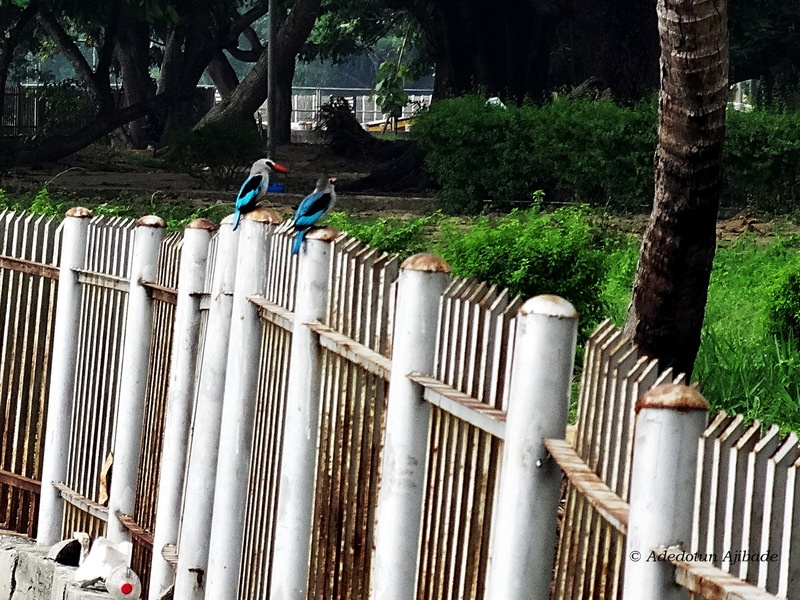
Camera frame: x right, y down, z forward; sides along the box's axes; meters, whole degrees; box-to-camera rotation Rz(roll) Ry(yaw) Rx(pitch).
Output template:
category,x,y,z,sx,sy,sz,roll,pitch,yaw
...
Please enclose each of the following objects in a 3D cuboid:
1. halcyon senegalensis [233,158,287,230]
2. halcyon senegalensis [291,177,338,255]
category,x,y,z,sx,sy,sz,roll,pitch,yaw
halcyon senegalensis,-1.003,-0.759,11.658,0.387,0.436,0.149,-10,-17,-1
halcyon senegalensis,-0.576,-0.546,10.979,0.277,0.458,1.037,0,7,-3
